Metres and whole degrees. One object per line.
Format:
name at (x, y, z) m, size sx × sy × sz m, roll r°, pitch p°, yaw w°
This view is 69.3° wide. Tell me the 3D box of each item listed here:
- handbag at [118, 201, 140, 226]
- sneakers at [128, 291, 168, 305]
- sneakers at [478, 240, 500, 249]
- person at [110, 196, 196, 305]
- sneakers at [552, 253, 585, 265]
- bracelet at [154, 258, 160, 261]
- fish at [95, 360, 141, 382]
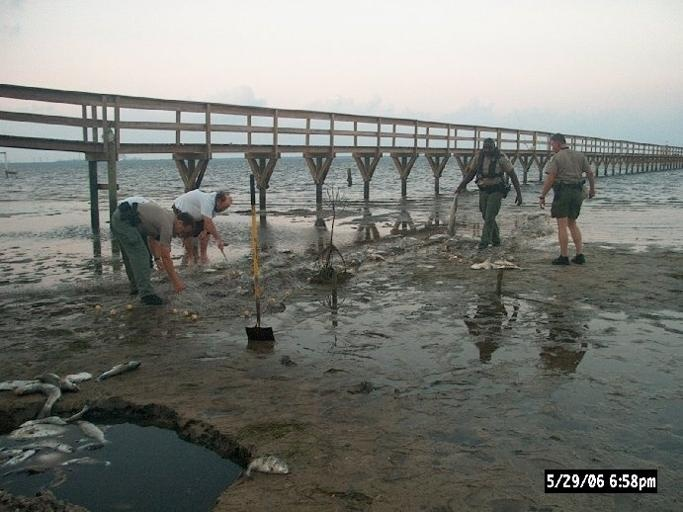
handbag at (-2.873, -0.561, 6.642) m, size 0.254 × 0.338 × 0.146 m, roll -7°, pitch 11°, yaw -19°
sneakers at (-2.648, 0.578, 6.778) m, size 0.414 × 0.209 × 0.119 m, roll -7°, pitch 21°, yaw -13°
sneakers at (3.065, -0.248, 10.232) m, size 0.661 × 0.081 × 0.045 m, roll -9°, pitch -6°, yaw -44°
person at (-2.651, -0.097, 6.829) m, size 1.147 × 1.440 × 0.658 m, roll 0°, pitch 11°, yaw 24°
sneakers at (3.996, 0.050, 8.645) m, size 0.628 × 0.194 × 0.216 m, roll 0°, pitch 4°, yaw 6°
bracelet at (-2.771, 0.051, 7.393) m, size 0.052 × 0.029 × 0.047 m, roll -1°, pitch 4°, yaw -27°
fish at (-2.141, 1.103, 4.732) m, size 0.347 × 0.103 × 0.115 m, roll -13°, pitch 47°, yaw -20°
